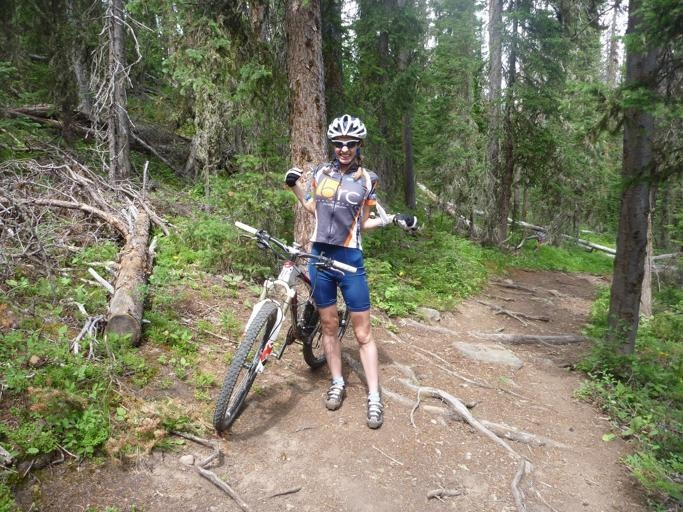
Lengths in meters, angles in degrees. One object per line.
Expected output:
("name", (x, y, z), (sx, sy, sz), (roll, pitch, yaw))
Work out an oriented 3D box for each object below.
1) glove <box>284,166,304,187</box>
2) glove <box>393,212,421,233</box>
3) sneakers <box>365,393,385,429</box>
("glove", (-0.666, -1.088, 7.292), (0.147, 0.231, 0.311), (45, -6, -11))
("glove", (0.868, -0.447, 6.919), (0.198, 0.152, 0.285), (21, 5, 11))
("sneakers", (0.477, 2.145, 7.297), (0.250, 0.387, 0.290), (8, 12, 5))
